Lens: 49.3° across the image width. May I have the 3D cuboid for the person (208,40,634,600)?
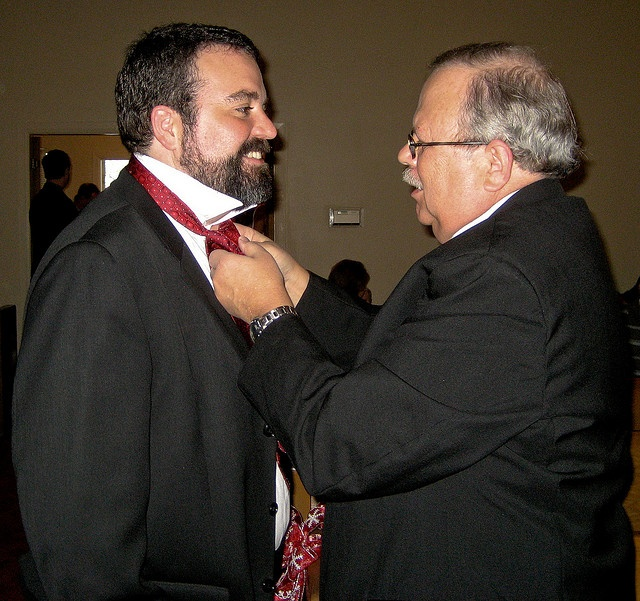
[{"bbox_3d":[0.291,-0.064,1.947,0.964,1.746,0.899,6,9,21],"label":"person"}]

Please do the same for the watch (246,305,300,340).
[{"bbox_3d":[-0.095,0.033,1.259,0.080,0.054,0.085,-34,5,-21],"label":"watch"}]
